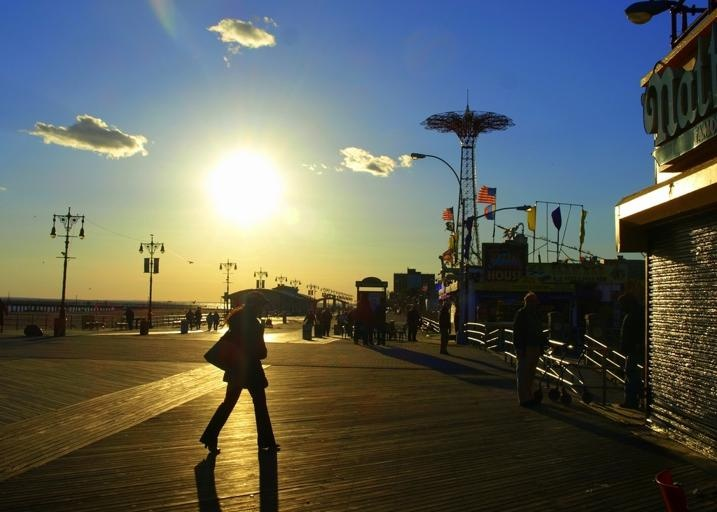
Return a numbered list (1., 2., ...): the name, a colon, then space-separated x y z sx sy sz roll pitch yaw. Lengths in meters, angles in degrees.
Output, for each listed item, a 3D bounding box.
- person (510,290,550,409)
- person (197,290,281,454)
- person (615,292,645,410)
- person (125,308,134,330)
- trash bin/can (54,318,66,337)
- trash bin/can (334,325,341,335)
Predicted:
1. person: 3.458 1.922 13.753 0.659 2.316 0.530 3 -6 -11
2. person: -1.829 1.816 10.500 1.169 2.442 0.709 3 -6 -16
3. person: 5.528 1.920 13.610 0.449 2.340 0.573 -1 -6 23
4. person: -17.473 4.892 51.368 0.454 1.592 3.805 3 -7 -19
5. trash bin/can: -15.351 3.722 34.503 0.572 1.209 0.612 -1 -10 -8
6. trash bin/can: -1.334 4.688 41.939 0.414 0.849 0.813 1 -6 -6
